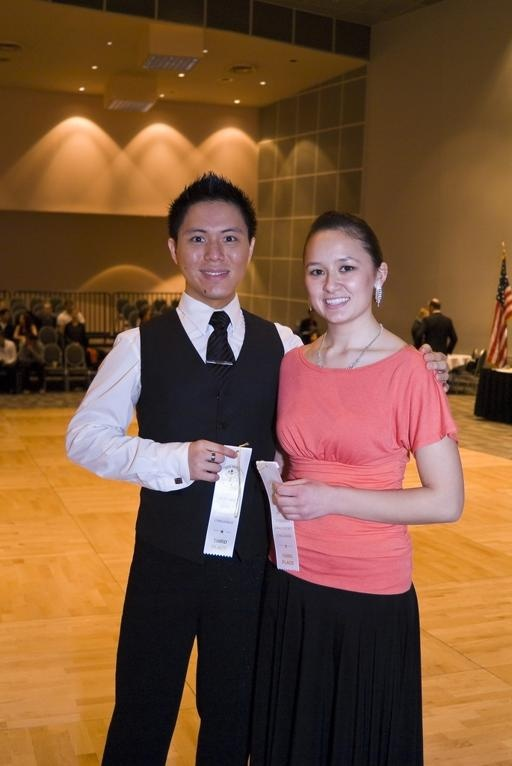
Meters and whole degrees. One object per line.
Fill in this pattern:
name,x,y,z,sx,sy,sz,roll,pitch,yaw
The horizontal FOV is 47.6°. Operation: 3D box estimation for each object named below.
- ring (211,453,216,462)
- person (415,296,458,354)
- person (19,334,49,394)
ring,-0.082,0.143,1.117,0.010,0.015,0.014,4,11,3
person,3.377,-0.772,10.805,0.770,1.586,0.494,6,30,18
person,-4.120,-0.360,10.603,0.463,1.050,0.373,0,3,-22
